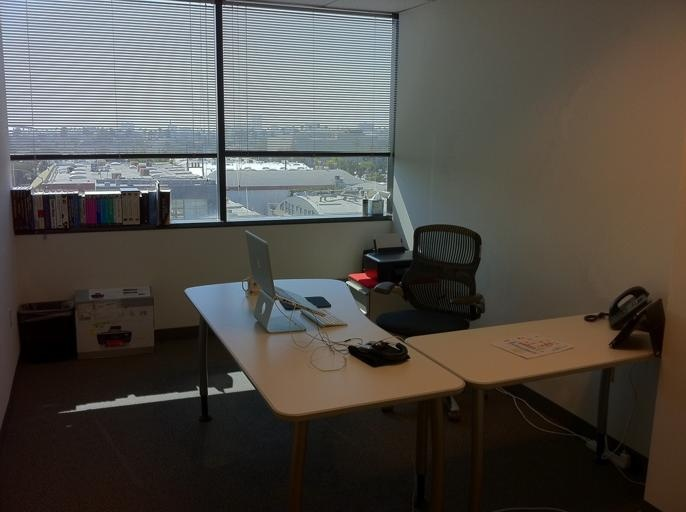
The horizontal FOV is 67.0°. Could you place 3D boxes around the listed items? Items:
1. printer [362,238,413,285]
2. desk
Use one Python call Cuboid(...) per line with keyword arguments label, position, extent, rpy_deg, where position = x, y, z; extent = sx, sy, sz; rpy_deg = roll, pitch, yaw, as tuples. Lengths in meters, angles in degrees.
Cuboid(label="printer", position=(0.460, 0.026, 5.456), extent=(0.470, 0.357, 0.470), rpy_deg=(-6, 19, -20))
Cuboid(label="desk", position=(-0.017, 0.549, 3.267), extent=(1.564, 0.704, 1.742), rpy_deg=(-5, 11, -25))
